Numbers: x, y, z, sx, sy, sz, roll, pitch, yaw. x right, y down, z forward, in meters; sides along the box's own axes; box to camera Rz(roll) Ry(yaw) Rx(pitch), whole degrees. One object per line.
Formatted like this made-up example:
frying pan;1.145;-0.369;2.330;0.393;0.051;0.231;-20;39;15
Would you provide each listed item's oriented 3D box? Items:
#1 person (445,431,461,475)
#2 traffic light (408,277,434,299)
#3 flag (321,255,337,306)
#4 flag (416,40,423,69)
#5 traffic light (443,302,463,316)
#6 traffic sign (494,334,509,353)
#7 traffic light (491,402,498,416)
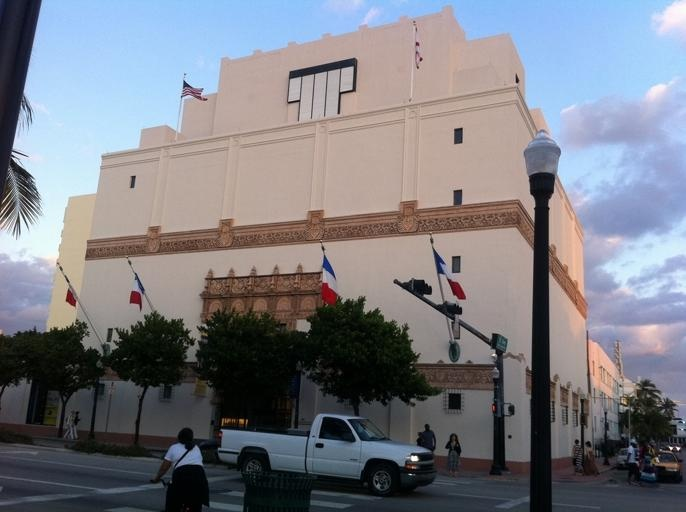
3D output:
person;5.326;9.468;29.024;0.606;1.783;0.955;-2;-16;12
traffic light;3.073;1.269;24.080;0.660;0.492;0.963;1;-16;5
flag;-0.643;1.235;29.731;0.679;2.388;1.255;3;-16;-4
flag;5.124;-13.776;41.169;0.458;2.089;1.048;-5;-17;23
traffic light;4.661;2.277;25.452;0.747;0.805;0.585;-6;-13;19
traffic sign;7.264;3.985;27.805;0.461;0.588;1.238;-3;-17;18
traffic light;7.430;7.385;29.308;0.181;0.645;0.336;1;-16;4
